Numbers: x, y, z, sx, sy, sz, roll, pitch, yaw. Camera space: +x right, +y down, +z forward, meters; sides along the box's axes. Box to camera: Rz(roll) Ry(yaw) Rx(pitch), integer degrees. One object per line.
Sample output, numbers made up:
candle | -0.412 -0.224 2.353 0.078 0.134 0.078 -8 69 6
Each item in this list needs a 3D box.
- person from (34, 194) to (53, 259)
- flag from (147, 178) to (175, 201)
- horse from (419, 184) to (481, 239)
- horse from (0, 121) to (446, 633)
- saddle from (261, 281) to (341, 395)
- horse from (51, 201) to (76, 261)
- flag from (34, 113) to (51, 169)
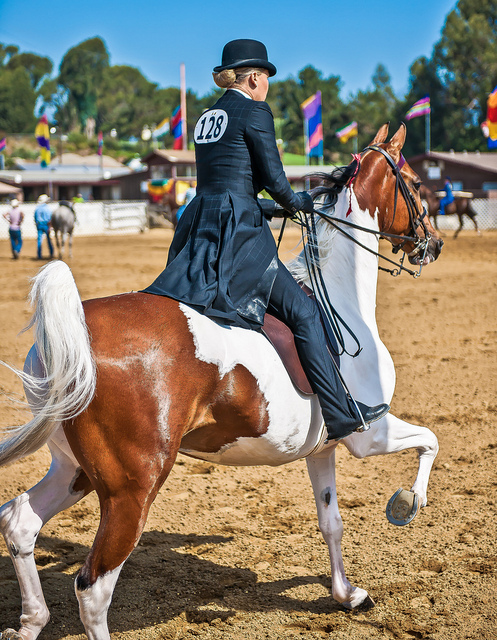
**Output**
person | -4.718 -2.214 19.664 0.412 1.053 1.687 0 -10 -17
flag | -3.936 -5.911 38.425 1.050 0.817 1.180 0 1 -5
horse | 6.191 -3.400 27.147 2.467 1.461 0.500 -7 15 -22
horse | -0.052 0.414 4.349 0.977 2.595 2.392 9 14 43
saddle | 0.225 0.092 4.310 0.364 0.530 0.182 -34 -20 32
horse | -4.579 -2.293 20.953 0.615 1.656 2.404 2 0 -9
flag | -8.898 -7.792 37.207 0.741 2.767 0.324 15 37 10
